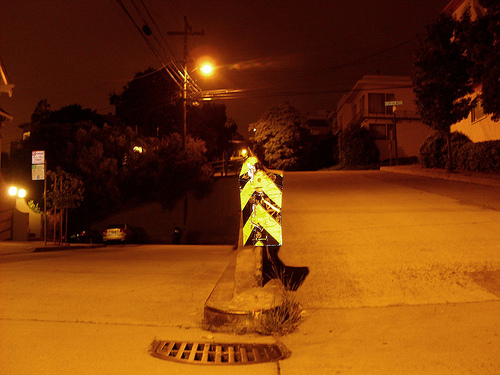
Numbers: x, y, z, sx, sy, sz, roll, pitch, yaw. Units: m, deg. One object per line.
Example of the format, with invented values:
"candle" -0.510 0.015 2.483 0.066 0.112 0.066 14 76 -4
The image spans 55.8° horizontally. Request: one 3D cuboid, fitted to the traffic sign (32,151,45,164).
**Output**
"traffic sign" -10.529 -1.466 23.497 0.530 0.700 0.621 -10 14 -36
